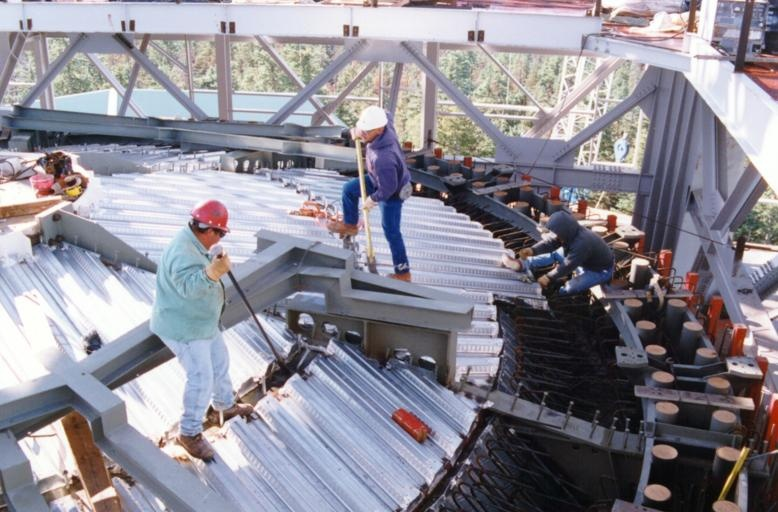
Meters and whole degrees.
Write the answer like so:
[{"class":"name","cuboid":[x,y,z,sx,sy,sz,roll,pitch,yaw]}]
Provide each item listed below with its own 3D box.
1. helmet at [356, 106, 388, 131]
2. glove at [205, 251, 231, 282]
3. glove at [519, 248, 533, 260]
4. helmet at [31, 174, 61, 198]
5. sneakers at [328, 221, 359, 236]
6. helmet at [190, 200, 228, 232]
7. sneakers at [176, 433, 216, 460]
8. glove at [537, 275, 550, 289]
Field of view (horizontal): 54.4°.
[{"class":"helmet","cuboid":[-0.211,-2.229,12.204,0.364,0.239,0.457,30,40,21]},{"class":"glove","cuboid":[-2.118,0.119,9.478,0.328,0.162,0.206,-33,19,42]},{"class":"glove","cuboid":[2.533,-0.054,14.052,0.276,0.190,0.216,-7,13,-14]},{"class":"helmet","cuboid":[-6.060,-1.275,13.448,0.398,0.380,0.418,2,21,-5]},{"class":"sneakers","cuboid":[-0.806,-0.456,13.471,0.594,0.212,0.252,5,-26,-8]},{"class":"helmet","cuboid":[-2.218,-0.531,9.601,0.336,0.259,0.428,41,32,28]},{"class":"sneakers","cuboid":[-2.547,2.547,10.187,0.503,0.202,0.270,32,30,10]},{"class":"glove","cuboid":[2.816,0.463,13.754,0.205,0.202,0.199,2,-26,2]}]
